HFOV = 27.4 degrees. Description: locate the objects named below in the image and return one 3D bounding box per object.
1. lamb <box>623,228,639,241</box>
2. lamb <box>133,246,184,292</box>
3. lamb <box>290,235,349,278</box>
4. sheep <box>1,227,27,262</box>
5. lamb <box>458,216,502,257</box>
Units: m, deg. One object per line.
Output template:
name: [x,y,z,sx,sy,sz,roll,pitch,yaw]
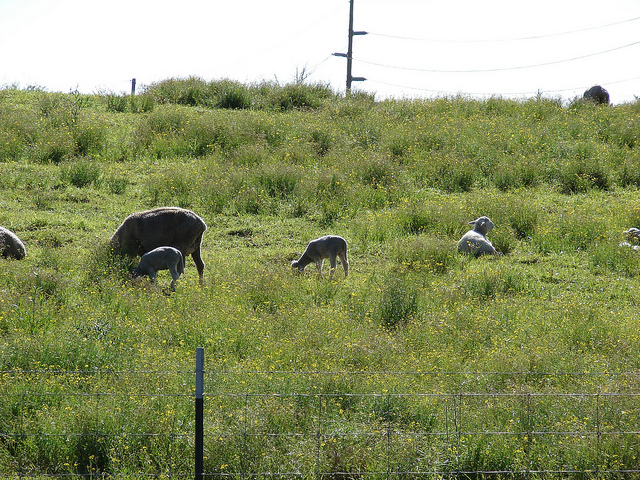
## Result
lamb: [8.069,-0.156,33.691,0.260,0.337,0.509,7,-8,-36]
lamb: [-3.685,0.666,30.240,1.059,1.049,0.630,4,-6,-4]
lamb: [0.100,0.405,31.878,1.291,1.058,0.774,3,-6,-1]
sheep: [-7.301,0.121,31.416,0.472,0.805,0.681,-3,-9,45]
lamb: [4.038,-0.074,33.762,0.943,1.069,1.002,1,12,-21]
